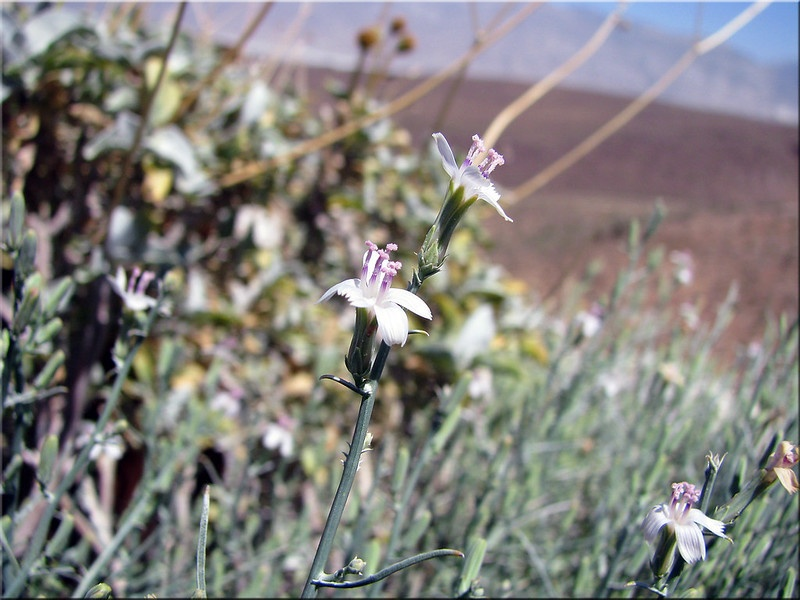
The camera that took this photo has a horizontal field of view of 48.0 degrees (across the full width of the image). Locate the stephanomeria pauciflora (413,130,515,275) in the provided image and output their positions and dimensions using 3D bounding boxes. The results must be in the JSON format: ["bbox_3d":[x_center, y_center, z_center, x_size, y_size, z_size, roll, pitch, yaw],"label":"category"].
[{"bbox_3d":[0.093,-0.133,1.398,0.149,0.234,0.176,20,-1,2],"label":"stephanomeria pauciflora"}]
